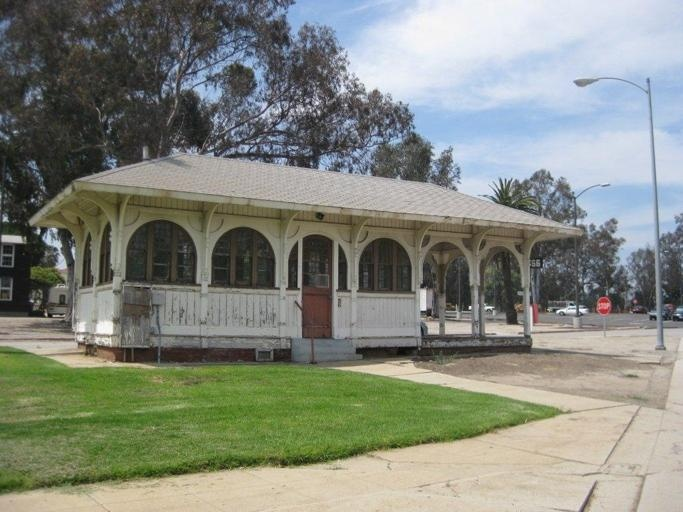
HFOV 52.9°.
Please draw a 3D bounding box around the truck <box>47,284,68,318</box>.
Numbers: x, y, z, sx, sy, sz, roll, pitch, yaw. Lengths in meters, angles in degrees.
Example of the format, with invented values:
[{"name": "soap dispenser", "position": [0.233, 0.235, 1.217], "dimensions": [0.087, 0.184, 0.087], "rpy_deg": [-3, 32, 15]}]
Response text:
[{"name": "truck", "position": [-23.691, 3.617, 57.241], "dimensions": [1.838, 2.295, 3.721], "rpy_deg": [1, 2, -23]}]
